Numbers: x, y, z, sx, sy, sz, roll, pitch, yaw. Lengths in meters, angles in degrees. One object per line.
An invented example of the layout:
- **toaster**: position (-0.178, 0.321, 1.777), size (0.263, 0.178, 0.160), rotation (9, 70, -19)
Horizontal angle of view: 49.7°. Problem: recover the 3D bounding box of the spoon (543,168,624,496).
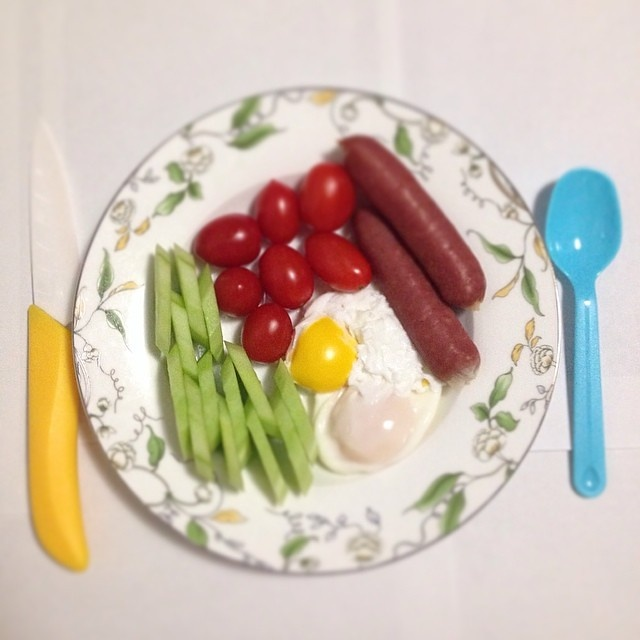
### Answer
- **spoon**: position (0.509, -0.041, 1.327), size (0.119, 0.092, 0.723), rotation (2, 85, 4)
